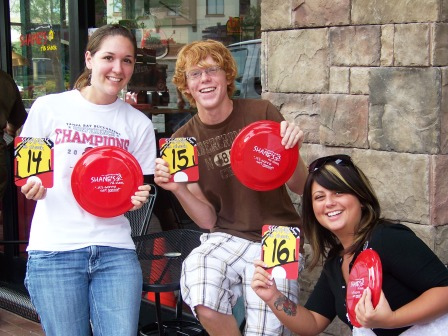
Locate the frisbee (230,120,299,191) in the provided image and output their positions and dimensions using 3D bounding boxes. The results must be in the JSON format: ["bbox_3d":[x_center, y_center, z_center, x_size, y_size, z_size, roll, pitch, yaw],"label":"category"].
[{"bbox_3d":[0.227,-0.084,2.344,0.426,0.490,0.099,3,37,33],"label":"frisbee"}]

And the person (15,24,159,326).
[{"bbox_3d":[-0.692,0.032,2.179,0.680,1.527,0.457,0,11,-10],"label":"person"}]

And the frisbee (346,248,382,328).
[{"bbox_3d":[0.599,0.501,1.797,0.054,0.297,0.250,7,-7,-3],"label":"frisbee"}]
